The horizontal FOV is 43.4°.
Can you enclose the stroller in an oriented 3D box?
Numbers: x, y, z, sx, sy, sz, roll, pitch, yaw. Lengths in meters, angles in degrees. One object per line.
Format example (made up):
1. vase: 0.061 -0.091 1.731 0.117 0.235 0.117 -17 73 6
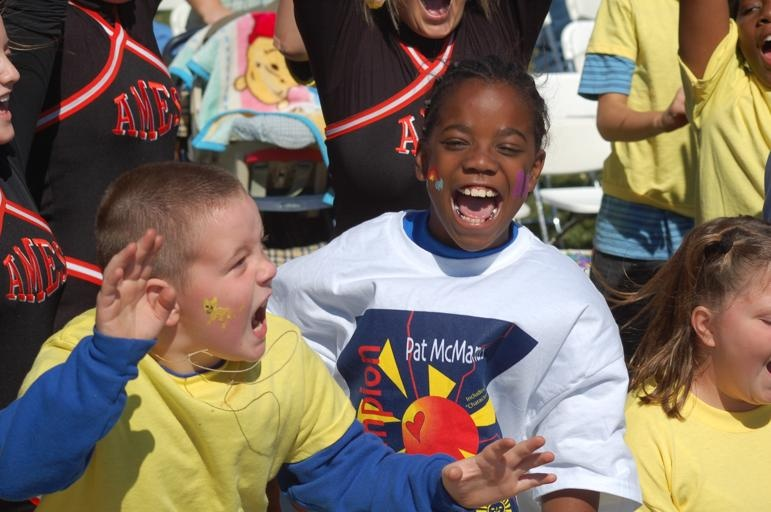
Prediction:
1. stroller: -0.670 -0.801 5.899 1.065 1.353 1.332 -3 5 -16
